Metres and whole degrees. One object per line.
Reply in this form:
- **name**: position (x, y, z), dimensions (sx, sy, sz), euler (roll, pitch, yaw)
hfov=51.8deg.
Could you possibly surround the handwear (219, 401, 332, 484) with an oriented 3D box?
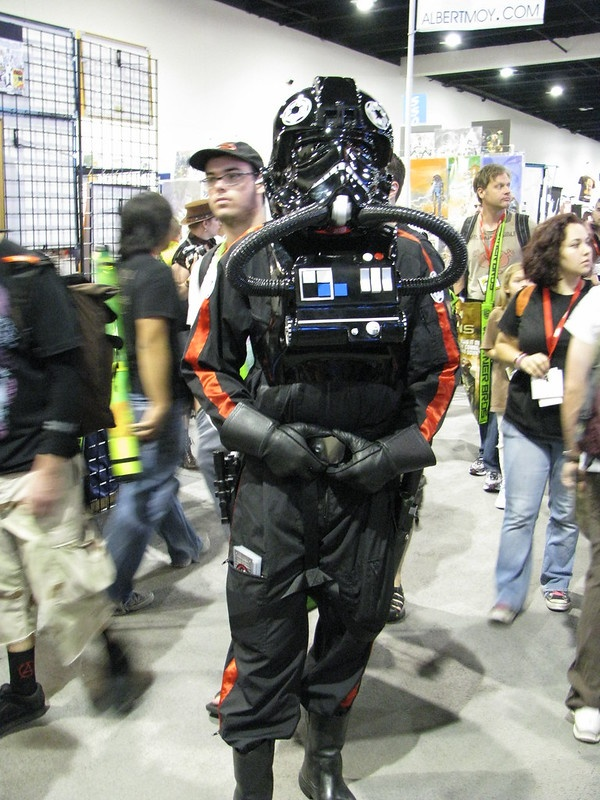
- **handwear**: position (-0.041, 0.077, 1.252), dimensions (0.195, 0.085, 0.117), euler (35, 59, 24)

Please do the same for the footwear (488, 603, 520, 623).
- **footwear**: position (0.898, 0.917, 2.688), dimensions (0.123, 0.069, 0.048), euler (-24, -3, 32)

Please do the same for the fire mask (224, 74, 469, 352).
- **fire mask**: position (0.082, -0.364, 1.207), dimensions (0.447, 0.549, 0.368), euler (-1, 6, -6)

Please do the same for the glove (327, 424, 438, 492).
- **glove**: position (0.166, 0.110, 1.245), dimensions (0.186, 0.131, 0.066), euler (-23, -23, -23)
